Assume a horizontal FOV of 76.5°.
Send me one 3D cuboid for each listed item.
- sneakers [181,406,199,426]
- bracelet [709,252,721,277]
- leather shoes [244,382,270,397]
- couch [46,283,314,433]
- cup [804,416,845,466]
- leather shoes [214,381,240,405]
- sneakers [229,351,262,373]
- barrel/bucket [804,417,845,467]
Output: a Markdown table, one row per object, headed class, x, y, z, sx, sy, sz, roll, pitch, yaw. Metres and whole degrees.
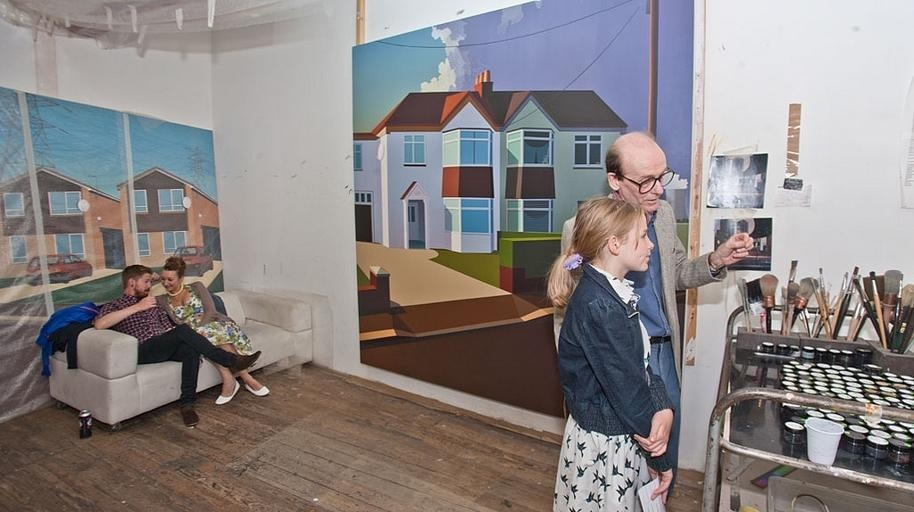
| class | x | y | z | sx | sy | sz | roll | pitch | yaw |
| --- | --- | --- | --- | --- | --- | --- | --- | --- | --- |
| sneakers | -2.456 | 1.464 | 5.348 | 0.149 | 0.145 | 0.210 | -5 | 7 | -27 |
| bracelet | 1.796 | 0.059 | 4.053 | 0.104 | 0.129 | 0.070 | -2 | 12 | 10 |
| leather shoes | -1.974 | 1.299 | 5.729 | 0.216 | 0.041 | 0.109 | 11 | 13 | 22 |
| couch | -2.659 | 0.971 | 5.779 | 2.162 | 0.989 | 0.657 | -5 | 8 | -35 |
| cup | 2.202 | 1.112 | 3.554 | 0.260 | 0.257 | 0.253 | 4 | -4 | 0 |
| leather shoes | -2.214 | 1.354 | 5.653 | 0.117 | 0.286 | 0.075 | 25 | -18 | 31 |
| sneakers | -2.080 | 1.020 | 5.662 | 0.252 | 0.081 | 0.174 | -24 | -24 | 6 |
| barrel/bucket | 2.203 | 1.115 | 3.600 | 0.263 | 0.247 | 0.244 | 4 | 5 | 0 |
